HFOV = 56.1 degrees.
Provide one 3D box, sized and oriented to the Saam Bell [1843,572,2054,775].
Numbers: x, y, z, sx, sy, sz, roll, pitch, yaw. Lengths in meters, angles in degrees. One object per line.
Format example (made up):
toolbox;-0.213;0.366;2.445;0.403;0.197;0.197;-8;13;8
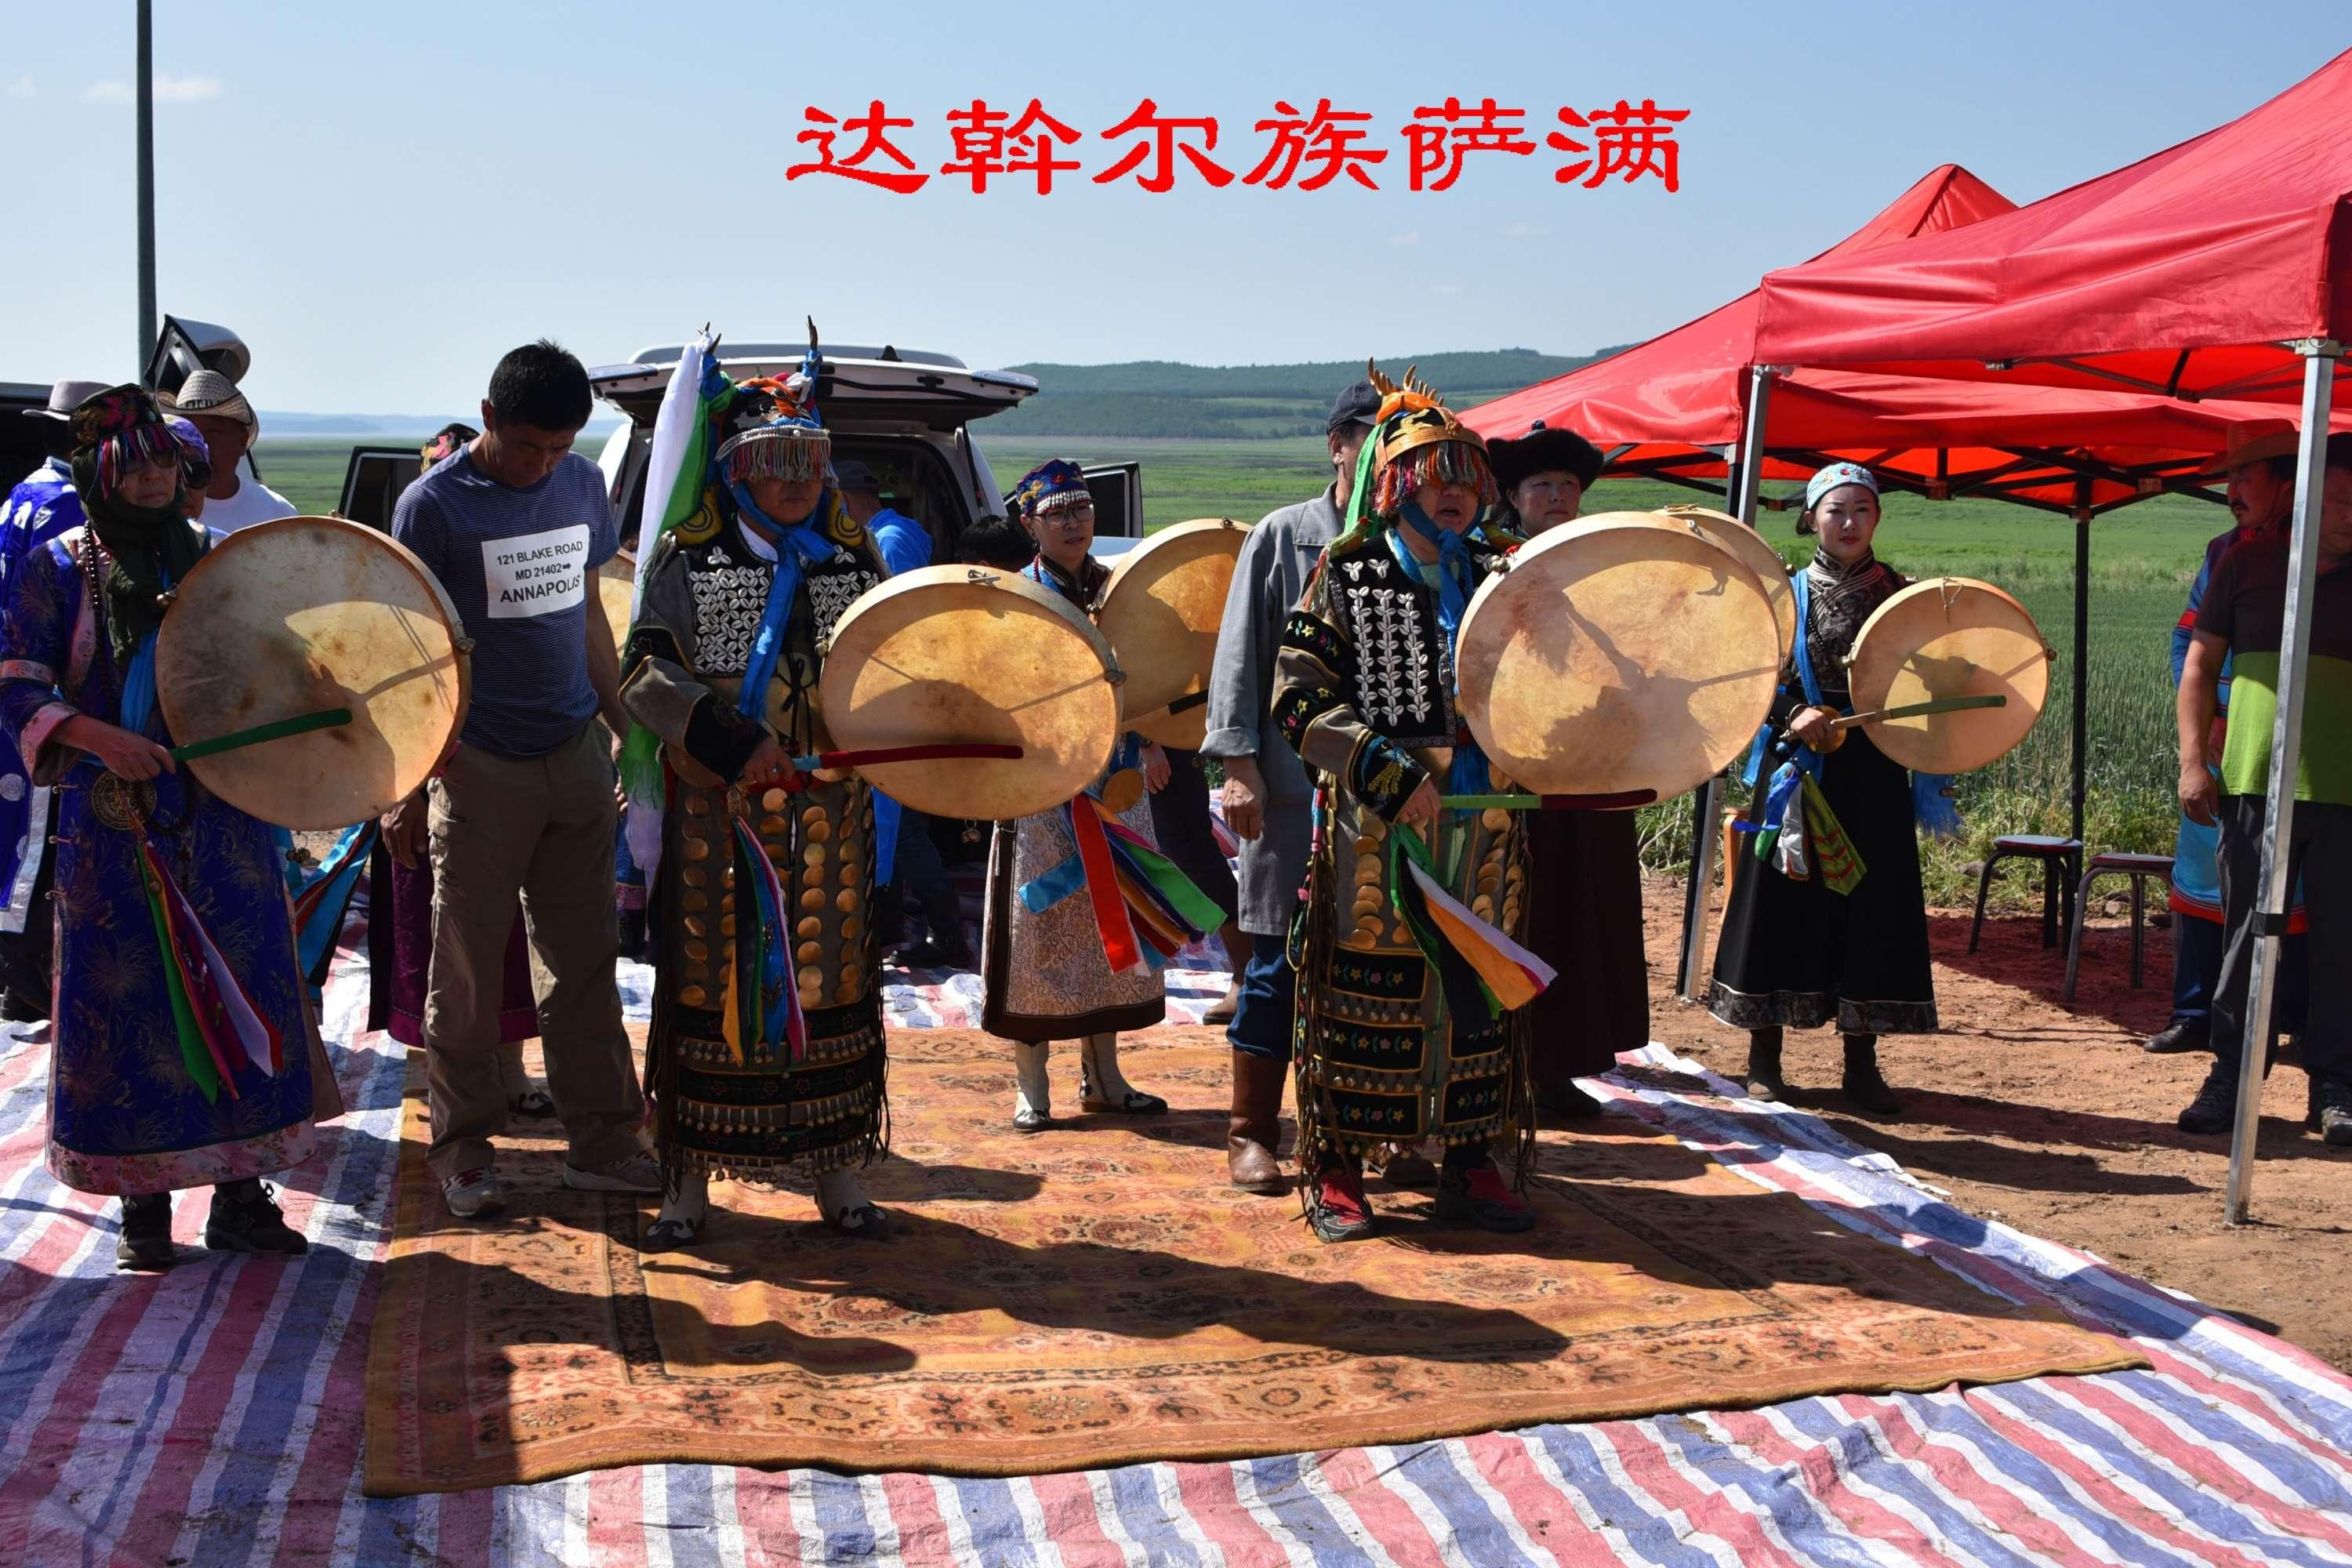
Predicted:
Saam Bell;2.594;-0.352;7.739;0.528;0.825;0.835;-1;1;4

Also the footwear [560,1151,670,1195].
footwear;-1.675;1.187;6.709;0.421;0.169;0.144;0;-3;0

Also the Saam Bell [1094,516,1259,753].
Saam Bell;-0.036;-0.473;7.290;0.472;0.770;0.523;4;-1;-39

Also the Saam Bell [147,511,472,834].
Saam Bell;-2.217;-0.285;5.696;0.741;0.789;0.247;-3;15;-19

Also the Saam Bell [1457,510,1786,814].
Saam Bell;1.194;-0.343;5.983;0.839;0.764;0.271;5;15;13
